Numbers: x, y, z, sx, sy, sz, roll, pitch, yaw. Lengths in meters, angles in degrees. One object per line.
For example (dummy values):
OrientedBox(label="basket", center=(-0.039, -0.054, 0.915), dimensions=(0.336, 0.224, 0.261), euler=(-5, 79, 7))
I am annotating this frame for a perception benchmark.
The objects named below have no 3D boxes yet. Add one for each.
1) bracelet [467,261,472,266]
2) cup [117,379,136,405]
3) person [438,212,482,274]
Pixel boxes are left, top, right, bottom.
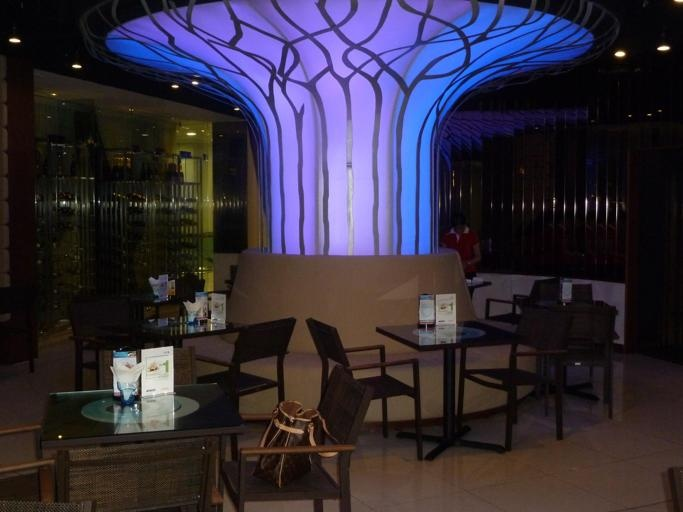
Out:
OrientedBox(label="bracelet", center=(2.024, 0.114, 9.325), dimensions=(0.048, 0.055, 0.051), euler=(0, 7, -4))
OrientedBox(label="cup", center=(-1.270, 0.809, 3.487), dimensions=(0.110, 0.135, 0.119), euler=(0, -9, 0))
OrientedBox(label="person", center=(1.927, -0.188, 9.483), dimensions=(0.613, 1.001, 0.445), euler=(5, 9, 38))
